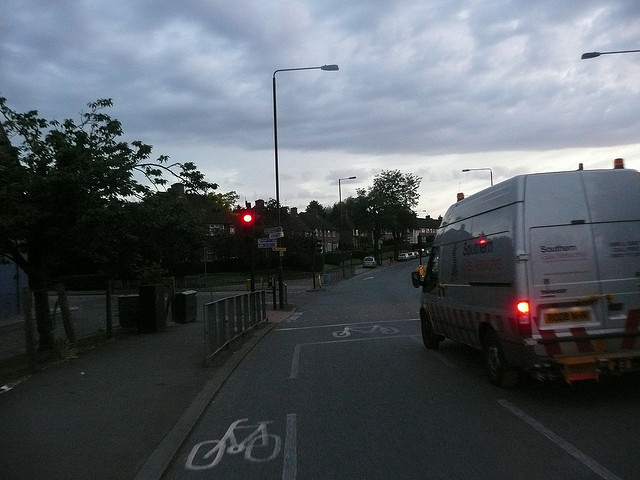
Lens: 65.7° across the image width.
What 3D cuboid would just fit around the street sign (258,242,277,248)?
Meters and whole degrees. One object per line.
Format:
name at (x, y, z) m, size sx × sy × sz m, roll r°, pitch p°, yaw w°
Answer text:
street sign at (-2.319, 0.256, 21.448) m, size 0.978 × 0.177 × 0.257 m, roll 3°, pitch -43°, yaw -18°

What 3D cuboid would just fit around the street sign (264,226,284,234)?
street sign at (-2.062, -0.429, 21.842) m, size 0.535 × 0.299 × 1.076 m, roll -1°, pitch -1°, yaw -35°

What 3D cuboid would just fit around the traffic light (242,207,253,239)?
traffic light at (-2.739, -0.629, 18.703) m, size 0.374 × 1.143 × 0.559 m, roll -1°, pitch 0°, yaw -9°

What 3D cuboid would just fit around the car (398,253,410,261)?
car at (13.744, 2.807, 80.776) m, size 1.380 × 0.996 × 3.445 m, roll -2°, pitch -1°, yaw 16°

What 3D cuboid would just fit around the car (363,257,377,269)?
car at (6.863, 3.148, 68.639) m, size 1.251 × 1.248 × 2.436 m, roll 0°, pitch 4°, yaw 14°
